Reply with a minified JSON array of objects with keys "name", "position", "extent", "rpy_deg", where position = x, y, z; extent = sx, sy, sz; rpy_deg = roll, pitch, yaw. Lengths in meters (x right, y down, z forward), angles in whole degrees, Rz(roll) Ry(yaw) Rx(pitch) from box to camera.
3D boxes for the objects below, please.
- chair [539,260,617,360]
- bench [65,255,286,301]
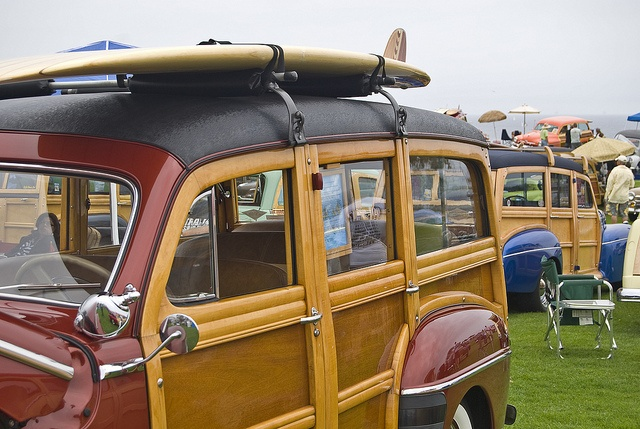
[{"name":"chair","position":[3.899,1.336,8.120],"extent":[1.044,1.375,0.854],"rpy_deg":[-4,-1,12]},{"name":"bench","position":[-0.571,0.319,2.986],"extent":[0.500,0.135,0.573],"rpy_deg":[0,2,38]}]
